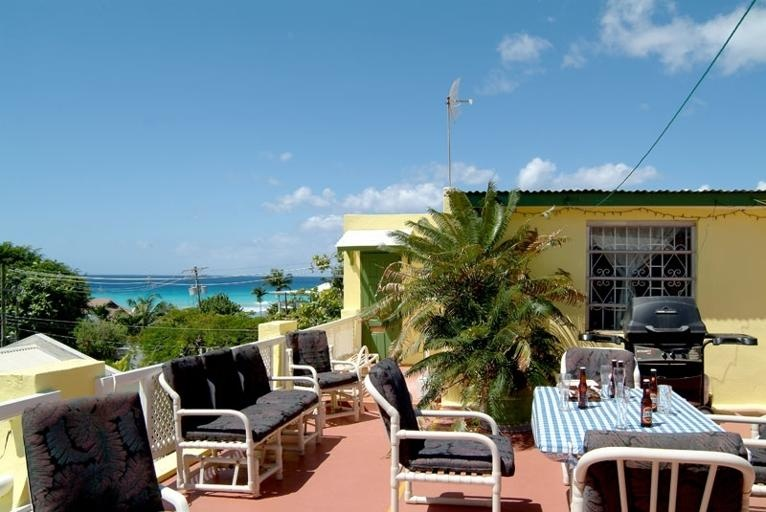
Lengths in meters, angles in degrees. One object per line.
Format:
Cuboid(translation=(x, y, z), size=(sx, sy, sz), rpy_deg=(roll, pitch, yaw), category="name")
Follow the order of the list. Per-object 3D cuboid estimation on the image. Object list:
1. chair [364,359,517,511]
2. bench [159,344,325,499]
Cuboid(translation=(0.731, 2.243, 7.473), size=(2.004, 1.962, 1.634), rpy_deg=(-1, -2, 10), category="chair")
Cuboid(translation=(-1.976, 2.272, 8.576), size=(1.499, 1.590, 2.629), rpy_deg=(-1, -1, 14), category="bench")
